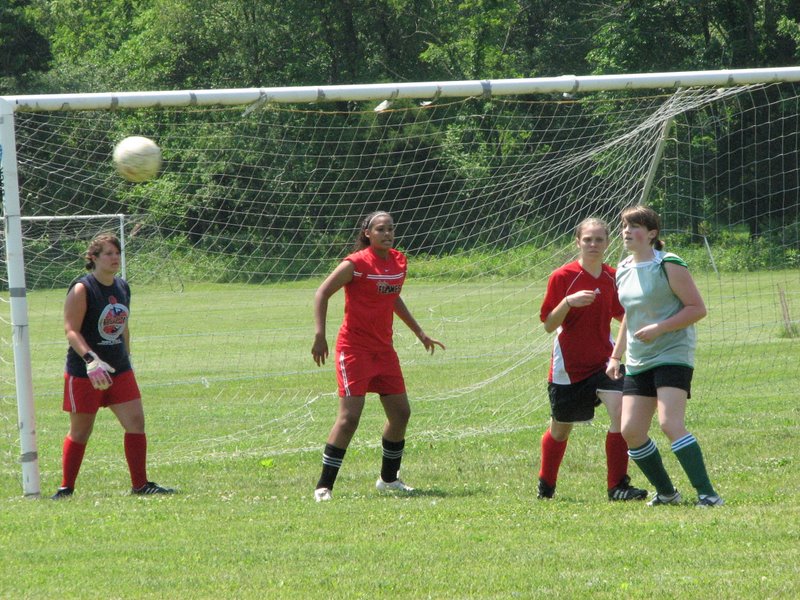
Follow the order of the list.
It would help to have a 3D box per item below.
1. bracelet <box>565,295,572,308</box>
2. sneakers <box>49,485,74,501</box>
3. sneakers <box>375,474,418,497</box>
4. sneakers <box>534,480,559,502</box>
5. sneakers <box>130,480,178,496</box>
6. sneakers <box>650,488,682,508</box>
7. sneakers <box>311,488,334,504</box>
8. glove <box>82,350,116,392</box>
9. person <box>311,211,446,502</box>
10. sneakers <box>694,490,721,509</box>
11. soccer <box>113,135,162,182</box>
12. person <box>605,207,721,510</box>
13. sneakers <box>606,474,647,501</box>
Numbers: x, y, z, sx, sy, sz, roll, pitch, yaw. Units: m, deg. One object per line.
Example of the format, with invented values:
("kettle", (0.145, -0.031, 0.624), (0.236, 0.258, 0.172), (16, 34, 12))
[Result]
("bracelet", (1.886, 0.023, 14.156), (0.023, 0.089, 0.092), (18, -22, 3))
("sneakers", (-4.029, 2.330, 15.166), (0.100, 0.126, 0.285), (0, -6, 31))
("sneakers", (-0.045, 2.258, 15.112), (0.481, 0.209, 0.174), (2, -1, 2))
("sneakers", (1.687, 2.228, 14.641), (0.198, 0.242, 0.562), (2, -1, 7))
("sneakers", (-2.959, 2.293, 15.298), (0.534, 0.201, 0.192), (-2, -2, 2))
("sneakers", (2.950, 2.228, 14.171), (0.404, 0.176, 0.148), (-2, 0, -4))
("sneakers", (-0.907, 2.315, 14.789), (0.147, 0.135, 0.155), (-2, -4, 4))
("glove", (-3.505, 0.851, 14.761), (0.130, 0.437, 0.326), (5, 30, 41))
("person", (-0.424, 0.690, 14.874), (1.119, 3.274, 0.664), (-4, 10, -4))
("sneakers", (3.368, 2.202, 13.911), (0.110, 0.138, 0.307), (-23, -32, 34))
("soccer", (-3.317, -1.806, 16.090), (0.569, 0.572, 0.558), (-9, 13, -19))
("person", (2.880, 0.652, 13.984), (0.981, 3.258, 0.624), (-1, 11, 12))
("sneakers", (2.585, 2.189, 14.479), (0.412, 0.243, 0.221), (-4, -3, 19))
